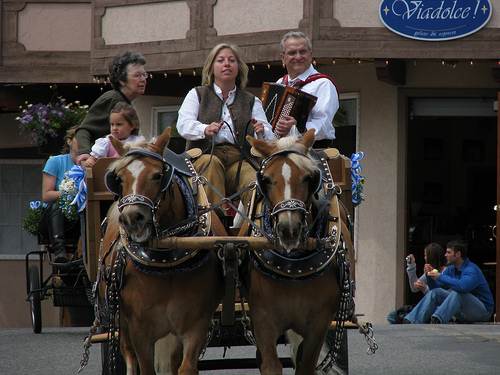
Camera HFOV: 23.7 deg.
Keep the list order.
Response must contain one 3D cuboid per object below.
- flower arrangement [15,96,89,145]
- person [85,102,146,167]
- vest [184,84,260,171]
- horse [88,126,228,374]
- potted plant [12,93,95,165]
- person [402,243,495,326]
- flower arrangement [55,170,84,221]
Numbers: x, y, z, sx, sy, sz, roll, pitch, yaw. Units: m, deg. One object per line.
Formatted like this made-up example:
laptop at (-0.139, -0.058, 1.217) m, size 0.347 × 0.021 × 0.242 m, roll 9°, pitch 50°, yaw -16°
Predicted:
flower arrangement at (-3.475, -1.057, 21.004) m, size 1.131 × 0.653 × 1.146 m, roll 16°, pitch -29°, yaw -24°
person at (-1.700, -0.624, 14.568) m, size 0.676 × 1.026 × 0.514 m, roll -3°, pitch -10°, yaw 1°
vest at (-0.379, -0.684, 14.556) m, size 0.891 × 1.082 × 0.576 m, roll 1°, pitch -12°, yaw -5°
horse at (-1.030, 0.771, 13.613) m, size 1.513 × 2.881 × 1.467 m, roll 2°, pitch -2°, yaw -6°
potted plant at (-3.547, -1.087, 21.148) m, size 1.238 × 1.078 × 1.038 m, roll -23°, pitch 28°, yaw -24°
person at (3.137, 1.559, 18.345) m, size 1.508 × 1.282 × 0.831 m, roll 8°, pitch -7°, yaw -32°
flower arrangement at (-2.329, 0.162, 15.036) m, size 0.321 × 0.630 × 0.462 m, roll -6°, pitch 27°, yaw -5°
